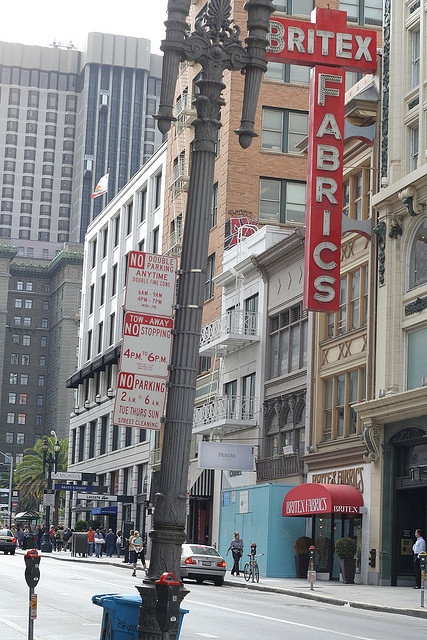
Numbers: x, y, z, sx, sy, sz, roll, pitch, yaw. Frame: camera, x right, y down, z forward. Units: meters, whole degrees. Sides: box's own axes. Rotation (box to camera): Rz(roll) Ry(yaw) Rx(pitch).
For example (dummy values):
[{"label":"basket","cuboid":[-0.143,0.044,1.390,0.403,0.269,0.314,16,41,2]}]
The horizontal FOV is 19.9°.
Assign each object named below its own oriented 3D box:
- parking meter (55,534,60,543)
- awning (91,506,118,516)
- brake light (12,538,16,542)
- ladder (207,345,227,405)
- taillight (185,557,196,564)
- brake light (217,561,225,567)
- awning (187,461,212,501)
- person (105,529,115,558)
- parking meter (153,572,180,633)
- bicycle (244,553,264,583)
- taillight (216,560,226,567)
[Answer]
[{"label":"parking meter","cuboid":[-8.516,11.793,65.814,0.311,0.619,0.341,3,-9,-15]},{"label":"awning","cuboid":[-6.315,11.079,70.438,1.528,0.464,1.215,-1,-2,-18]},{"label":"brake light","cuboid":[-8.933,9.737,53.922,0.123,0.251,0.129,3,-10,-13]},{"label":"ladder","cuboid":[0.109,2.303,51.913,0.277,3.046,1.621,14,-23,-13]},{"label":"taillight","cuboid":[-0.695,6.642,33.697,0.368,0.291,0.138,-2,-13,-1]},{"label":"brake light","cuboid":[0.164,6.825,34.093,0.222,0.124,0.330,1,-1,-3]},{"label":"awning","cuboid":[-0.665,7.071,53.012,0.847,1.412,3.161,-1,-2,-5]},{"label":"person","cuboid":[-4.888,10.488,56.728,0.388,1.232,1.652,-1,-2,-5]},{"label":"parking meter","cuboid":[-0.410,2.471,10.571,0.204,0.551,0.350,-1,-2,2]},{"label":"bicycle","cuboid":[1.100,7.504,36.422,0.555,0.713,1.114,7,-18,-17]},{"label":"taillight","cuboid":[0.152,6.817,34.090,0.169,0.148,0.326,0,-11,-3]}]
